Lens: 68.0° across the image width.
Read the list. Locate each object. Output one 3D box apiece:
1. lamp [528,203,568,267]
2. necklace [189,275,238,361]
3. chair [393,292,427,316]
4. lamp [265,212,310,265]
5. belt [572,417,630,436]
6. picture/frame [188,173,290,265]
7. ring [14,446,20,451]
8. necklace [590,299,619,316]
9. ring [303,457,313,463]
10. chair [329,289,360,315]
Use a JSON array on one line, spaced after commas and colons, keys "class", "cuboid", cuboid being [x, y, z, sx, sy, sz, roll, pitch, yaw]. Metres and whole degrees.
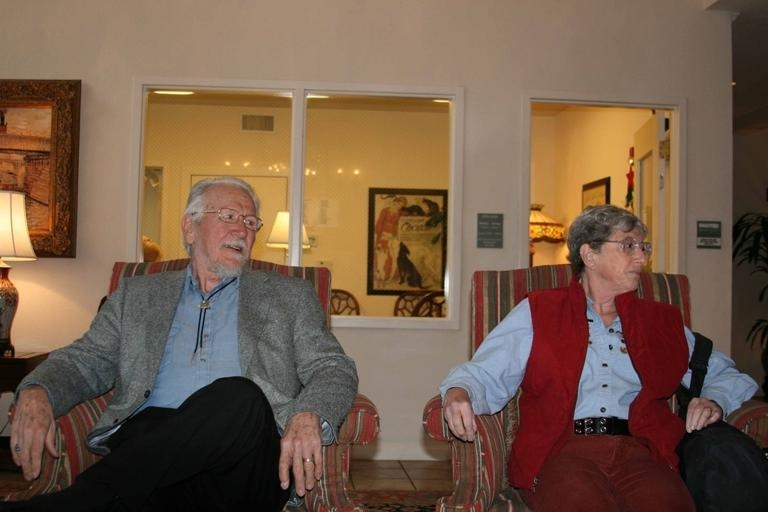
[{"class": "lamp", "cuboid": [1.519, -0.254, 5.689, 0.434, 0.509, 0.439, 3, 12, 22]}, {"class": "necklace", "cuboid": [-0.706, 0.259, 2.339, 0.229, 0.312, 0.098, -1, -13, -2]}, {"class": "chair", "cuboid": [0.179, 0.335, 3.995, 0.176, 0.225, 0.164, 0, -6, 5]}, {"class": "lamp", "cuboid": [-0.717, -0.139, 4.141, 0.312, 0.407, 0.302, 1, -4, -8]}, {"class": "belt", "cuboid": [0.898, 0.704, 2.344, 0.125, 0.039, 0.112, 0, -10, -3]}, {"class": "picture/frame", "cuboid": [-0.746, -0.173, 3.000, 0.645, 0.685, 0.033, 0, -7, 6]}, {"class": "ring", "cuboid": [-1.330, 0.696, 2.054, 0.012, 0.013, 0.021, 3, -13, -23]}, {"class": "necklace", "cuboid": [0.963, 0.225, 2.484, 0.083, 0.057, 0.064, -3, -2, 2]}, {"class": "ring", "cuboid": [-0.267, 0.719, 2.000, 0.029, 0.020, 0.010, 0, 3, -10]}, {"class": "chair", "cuboid": [-0.269, 0.329, 3.927, 0.203, 0.265, 0.202, 0, -7, -1]}]
